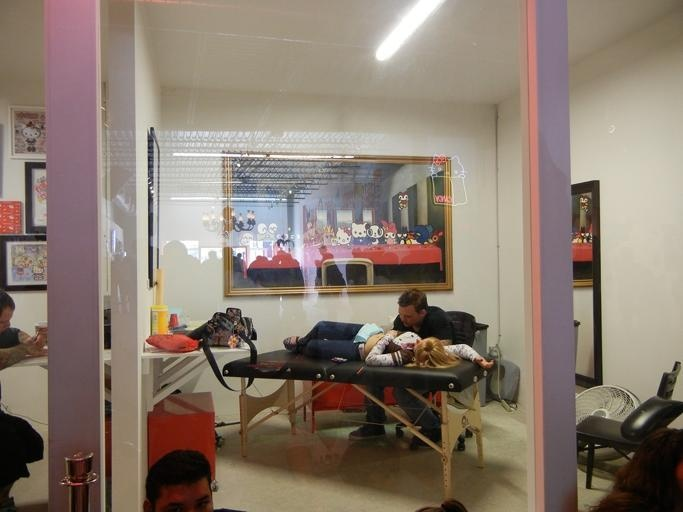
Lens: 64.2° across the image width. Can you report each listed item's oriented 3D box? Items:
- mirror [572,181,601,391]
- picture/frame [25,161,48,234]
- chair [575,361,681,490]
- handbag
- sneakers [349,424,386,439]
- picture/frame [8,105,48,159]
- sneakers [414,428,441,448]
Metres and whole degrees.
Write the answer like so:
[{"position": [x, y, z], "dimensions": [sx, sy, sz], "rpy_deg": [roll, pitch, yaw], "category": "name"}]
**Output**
[{"position": [0.925, 0.097, 2.067], "dimensions": [0.032, 0.706, 0.786], "rpy_deg": [-3, -1, 29], "category": "mirror"}, {"position": [-0.936, -0.181, 1.662], "dimensions": [0.062, 0.219, 0.023], "rpy_deg": [1, -1, -7], "category": "picture/frame"}, {"position": [1.130, 0.616, 2.215], "dimensions": [0.401, 0.636, 0.341], "rpy_deg": [2, 4, 25], "category": "chair"}, {"position": [-0.368, 0.266, 1.877], "dimensions": [0.312, 0.131, 0.226], "rpy_deg": [5, 3, -15], "category": "handbag"}, {"position": [0.092, 0.601, 1.853], "dimensions": [0.140, 0.059, 0.049], "rpy_deg": [2, -3, -2], "category": "sneakers"}, {"position": [-0.946, -0.385, 1.643], "dimensions": [0.163, 0.197, 0.012], "rpy_deg": [0, -4, 4], "category": "picture/frame"}, {"position": [0.302, 0.619, 1.854], "dimensions": [0.125, 0.056, 0.044], "rpy_deg": [3, 0, 0], "category": "sneakers"}]
